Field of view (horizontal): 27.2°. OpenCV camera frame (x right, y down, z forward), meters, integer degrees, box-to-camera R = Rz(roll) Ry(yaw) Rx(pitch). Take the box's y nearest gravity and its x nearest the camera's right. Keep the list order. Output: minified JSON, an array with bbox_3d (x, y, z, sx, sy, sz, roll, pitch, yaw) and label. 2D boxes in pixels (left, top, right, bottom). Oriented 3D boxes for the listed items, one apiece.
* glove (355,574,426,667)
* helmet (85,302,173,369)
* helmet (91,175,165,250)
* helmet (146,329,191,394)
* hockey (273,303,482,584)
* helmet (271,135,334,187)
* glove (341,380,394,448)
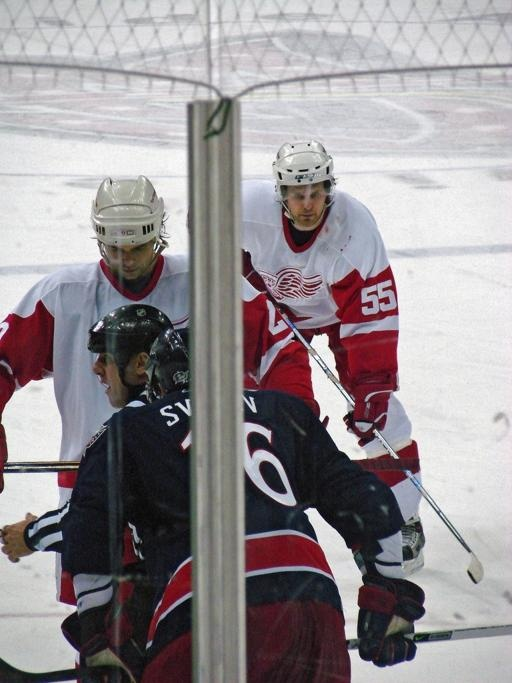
[{"bbox_3d":[0.304,0.652,2.479,0.180,0.195,0.163,7,-14,5],"label":"glove"},{"bbox_3d":[-0.287,-0.012,2.475,0.228,0.136,0.150,4,6,1],"label":"helmet"},{"bbox_3d":[-0.302,-0.290,2.422,0.201,0.178,0.216,-3,19,-11],"label":"helmet"},{"bbox_3d":[-0.202,0.047,2.401,0.132,0.132,0.140,4,2,-12],"label":"helmet"},{"bbox_3d":[0.289,0.257,2.401,0.042,0.772,0.099,-42,3,-34],"label":"hockey"},{"bbox_3d":[0.114,-0.390,2.457,0.166,0.136,0.170,-7,14,2],"label":"helmet"},{"bbox_3d":[0.257,0.166,2.461,0.119,0.130,0.100,11,31,1],"label":"glove"}]
